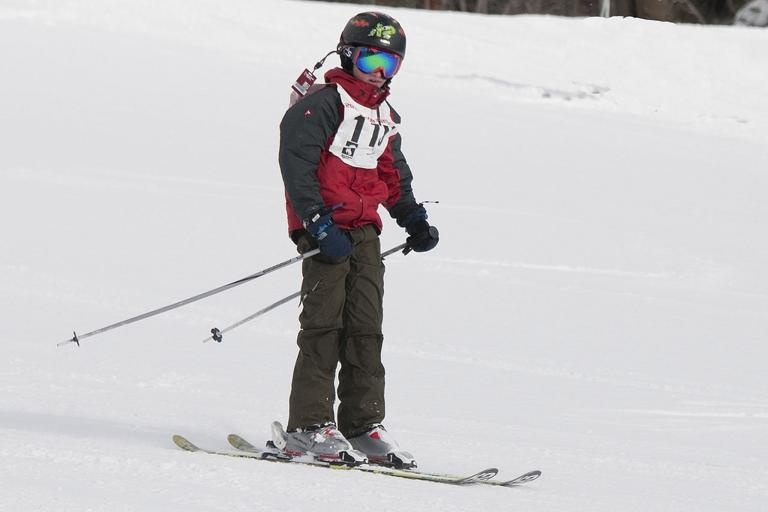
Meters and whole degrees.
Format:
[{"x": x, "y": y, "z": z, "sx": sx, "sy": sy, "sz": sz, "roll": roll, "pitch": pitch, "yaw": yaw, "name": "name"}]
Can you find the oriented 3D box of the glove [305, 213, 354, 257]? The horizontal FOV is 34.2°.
[{"x": -0.758, "y": -0.268, "z": 16.586, "sx": 0.687, "sy": 0.451, "sz": 0.252, "roll": 48, "pitch": -8, "yaw": -7, "name": "glove"}]
